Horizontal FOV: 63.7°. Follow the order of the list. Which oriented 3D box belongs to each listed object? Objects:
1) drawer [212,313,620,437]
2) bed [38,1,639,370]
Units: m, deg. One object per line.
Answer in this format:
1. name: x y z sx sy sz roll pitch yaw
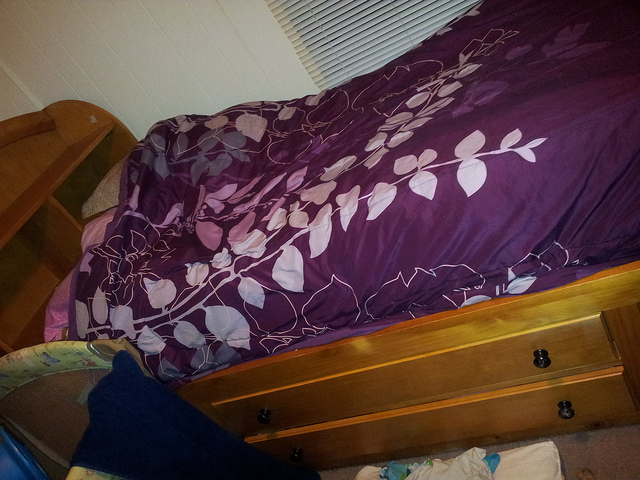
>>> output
1. drawer: 0.310 0.452 1.675 1.180 0.201 0.168 -13 -32 22
2. bed: 0.167 0.085 2.104 2.080 1.257 0.634 -16 -41 30
